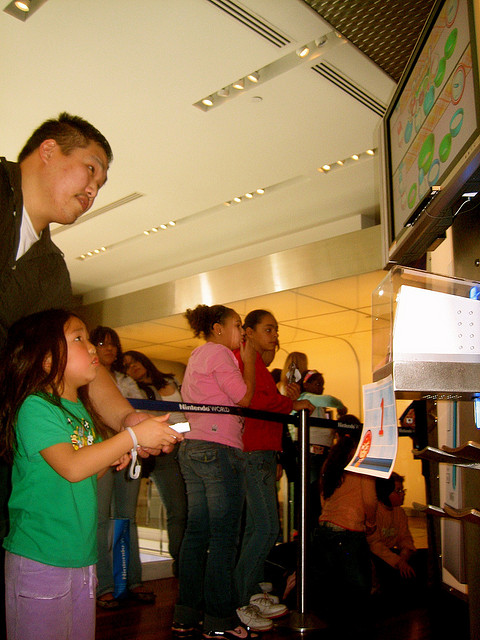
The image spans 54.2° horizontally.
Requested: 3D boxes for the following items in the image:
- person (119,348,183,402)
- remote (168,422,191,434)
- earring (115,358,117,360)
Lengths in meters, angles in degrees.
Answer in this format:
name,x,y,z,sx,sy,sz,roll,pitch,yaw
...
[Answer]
name,x,y,z,sx,sy,sz,roll,pitch,yaw
person,-0.645,0.403,3.558,0.762,0.252,0.268,22,-2,-44
remote,-0.134,0.245,1.065,0.012,0.027,0.051,-28,-20,34
earring,-0.720,0.226,2.729,0.012,0.011,0.012,-1,-40,17
